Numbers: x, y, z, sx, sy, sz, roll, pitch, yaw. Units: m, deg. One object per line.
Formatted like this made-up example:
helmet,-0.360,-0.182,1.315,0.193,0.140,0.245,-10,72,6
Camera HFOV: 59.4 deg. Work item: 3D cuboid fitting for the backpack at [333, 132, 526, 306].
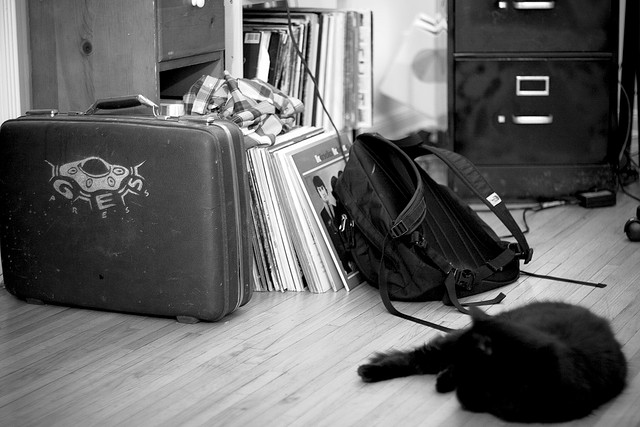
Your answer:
backpack,0.291,0.011,1.612,0.469,0.425,0.458,-21,33,-35

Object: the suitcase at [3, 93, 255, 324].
suitcase,-0.492,0.015,1.418,0.530,0.475,0.196,5,14,13

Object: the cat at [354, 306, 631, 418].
cat,0.415,0.260,1.111,0.359,0.130,0.221,-5,10,-24

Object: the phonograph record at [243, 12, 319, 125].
phonograph record,-0.192,-0.589,2.322,0.347,0.367,0.089,0,-3,-6

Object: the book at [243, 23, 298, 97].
book,-0.189,-0.584,2.148,0.216,0.260,0.442,-2,27,-2

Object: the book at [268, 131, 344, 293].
book,-0.033,0.002,1.648,0.084,0.363,0.356,-16,8,-14
